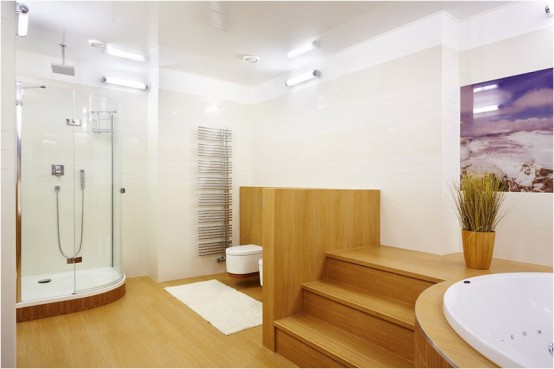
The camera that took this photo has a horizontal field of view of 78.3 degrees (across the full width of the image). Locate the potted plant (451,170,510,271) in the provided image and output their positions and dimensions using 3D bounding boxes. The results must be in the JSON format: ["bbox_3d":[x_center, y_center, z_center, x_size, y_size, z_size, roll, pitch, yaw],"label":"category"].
[{"bbox_3d":[1.900,0.321,3.332,0.472,0.855,0.572,7,11,33],"label":"potted plant"}]

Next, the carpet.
[{"bbox_3d":[-0.682,1.408,4.085,0.709,0.080,1.473,-7,11,-42],"label":"carpet"}]

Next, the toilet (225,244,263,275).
[{"bbox_3d":[-0.484,0.978,4.554,0.559,0.337,0.404,2,-2,-34],"label":"toilet"}]
